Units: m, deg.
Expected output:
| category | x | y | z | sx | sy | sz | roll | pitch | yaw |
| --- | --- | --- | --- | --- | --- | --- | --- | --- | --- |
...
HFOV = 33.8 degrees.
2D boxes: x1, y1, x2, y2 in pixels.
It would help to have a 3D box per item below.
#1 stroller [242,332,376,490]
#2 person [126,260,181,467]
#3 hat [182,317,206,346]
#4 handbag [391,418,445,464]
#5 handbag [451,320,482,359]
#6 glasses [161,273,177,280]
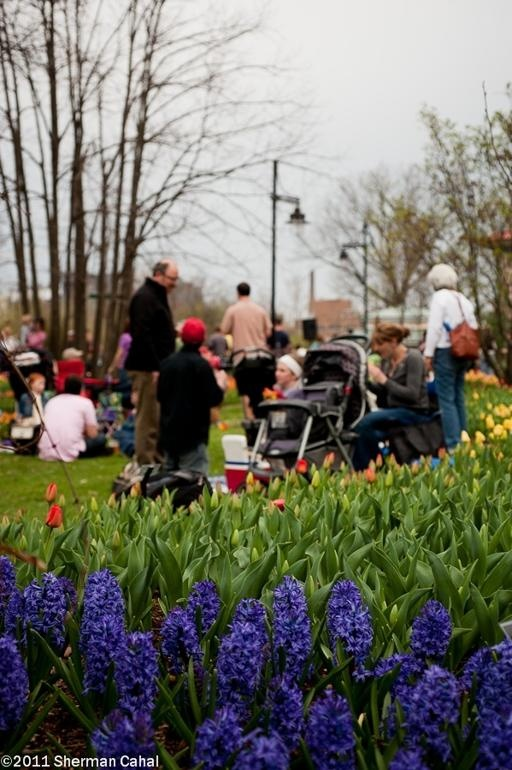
| category | x | y | z | sx | sy | sz | roll | pitch | yaw |
| --- | --- | --- | --- | --- | --- | --- | --- | --- | --- |
| stroller | 0.462 | 0.197 | 6.681 | 0.839 | 1.026 | 1.681 | 3 | 7 | 8 |
| person | -0.854 | -0.131 | 6.873 | 0.371 | 1.760 | 1.383 | 1 | 7 | -6 |
| hat | -0.467 | -0.419 | 6.253 | 0.134 | 0.119 | 0.223 | 4 | 52 | -10 |
| handbag | 1.289 | 0.457 | 6.790 | 0.430 | 0.388 | 0.469 | 2 | 7 | -1 |
| handbag | 1.819 | -0.399 | 7.445 | 0.246 | 0.332 | 0.316 | 4 | 7 | 13 |
| glasses | -0.662 | -0.825 | 6.466 | 0.104 | 0.042 | 0.111 | 1 | 7 | -7 |
